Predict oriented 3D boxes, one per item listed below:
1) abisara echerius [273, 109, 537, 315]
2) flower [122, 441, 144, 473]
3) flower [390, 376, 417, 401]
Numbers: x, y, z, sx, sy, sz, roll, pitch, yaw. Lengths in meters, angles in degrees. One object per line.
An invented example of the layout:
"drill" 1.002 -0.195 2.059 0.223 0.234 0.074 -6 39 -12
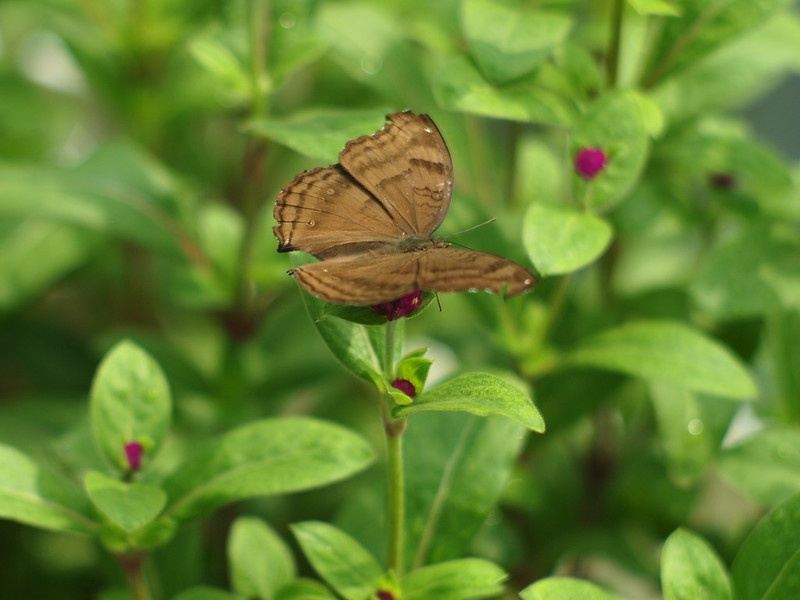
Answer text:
"abisara echerius" -0.016 -0.090 0.998 0.250 0.098 0.275 -11 54 -17
"flower" -0.329 0.193 1.030 0.025 0.038 0.010 -7 15 -12
"flower" 0.002 0.102 0.948 0.029 0.021 0.033 -1 16 12
